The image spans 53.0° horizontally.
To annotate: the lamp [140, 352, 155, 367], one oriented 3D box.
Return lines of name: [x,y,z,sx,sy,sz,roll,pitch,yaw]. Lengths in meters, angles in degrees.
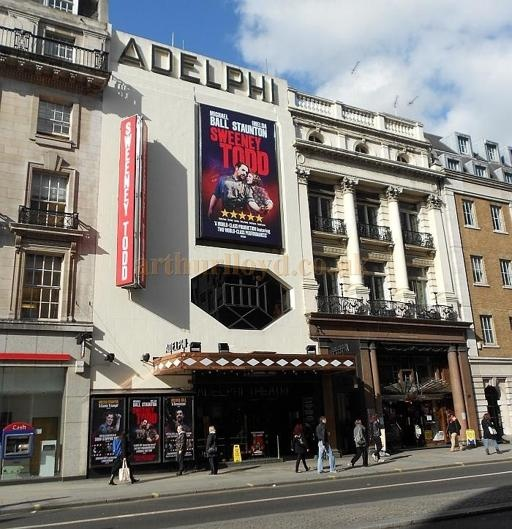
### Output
lamp: [-4.405,3.778,20.573,0.536,0.540,0.420,8,-19,-37]

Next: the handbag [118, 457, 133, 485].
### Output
handbag: [-4.318,6.648,16.701,0.403,0.793,0.632,1,-15,-13]

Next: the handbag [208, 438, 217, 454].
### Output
handbag: [-1.608,6.471,18.292,0.354,0.509,0.320,4,-16,-23]

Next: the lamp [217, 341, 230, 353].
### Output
lamp: [-1.396,3.336,20.838,0.461,0.631,0.410,4,-29,-14]

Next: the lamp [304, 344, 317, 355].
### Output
lamp: [2.435,3.792,23.134,0.494,0.480,0.467,-1,-5,3]

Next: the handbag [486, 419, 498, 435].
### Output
handbag: [10.159,7.035,22.148,0.213,0.556,0.399,-16,-20,40]

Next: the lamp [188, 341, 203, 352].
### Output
lamp: [-2.405,3.188,19.971,0.493,0.461,0.390,3,-17,-15]

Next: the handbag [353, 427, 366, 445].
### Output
handbag: [3.782,6.247,18.830,0.368,0.734,0.794,-5,-15,8]
